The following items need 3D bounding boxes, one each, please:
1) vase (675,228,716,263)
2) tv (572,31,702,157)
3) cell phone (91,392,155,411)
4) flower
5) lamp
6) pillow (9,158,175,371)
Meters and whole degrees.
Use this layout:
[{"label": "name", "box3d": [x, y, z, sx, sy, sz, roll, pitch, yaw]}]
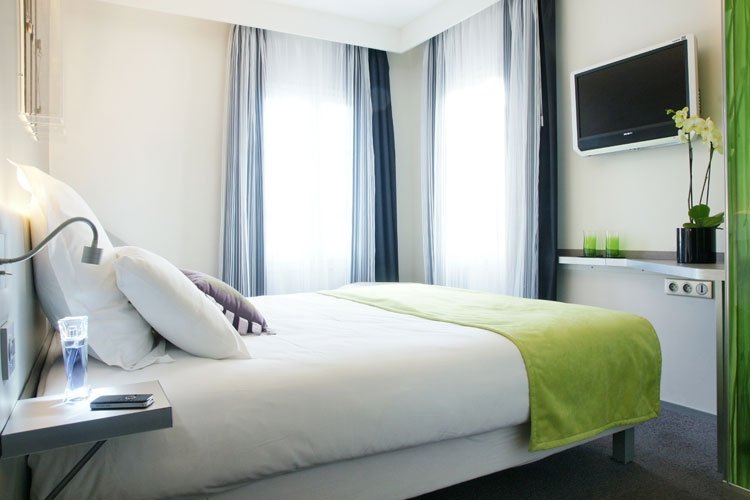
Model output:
[{"label": "vase", "box3d": [1.955, -0.020, 3.429, 0.203, 0.253, 0.212, 1, -1, 4]}, {"label": "tv", "box3d": [1.853, -1.086, 3.840, 0.095, 0.804, 0.965, -8, 3, -34]}, {"label": "cell phone", "box3d": [-0.916, 0.533, 2.000, 0.147, 0.044, 0.085, 2, -2, -8]}, {"label": "flower", "box3d": [2.033, -0.545, 3.518, 0.343, 0.744, 0.468, 5, 12, 24]}, {"label": "lamp", "box3d": [-1.275, -0.041, 2.187, 0.332, 0.202, 0.546, -6, 13, -27]}, {"label": "pillow", "box3d": [-1.240, 0.043, 2.697, 0.732, 0.775, 1.152, 3, 6, 1]}]
